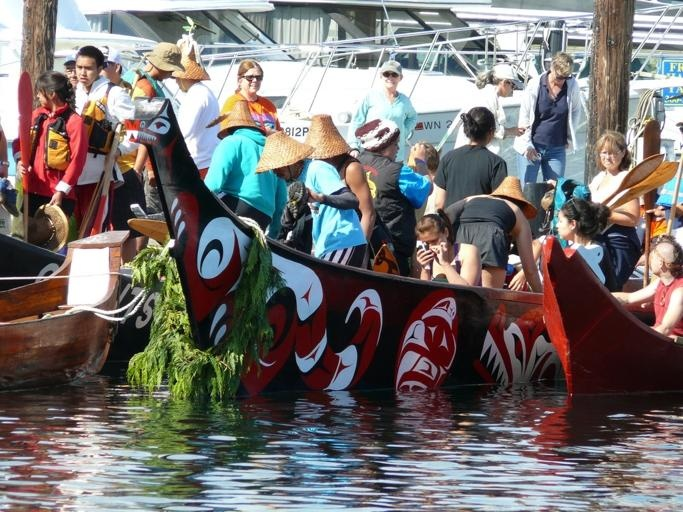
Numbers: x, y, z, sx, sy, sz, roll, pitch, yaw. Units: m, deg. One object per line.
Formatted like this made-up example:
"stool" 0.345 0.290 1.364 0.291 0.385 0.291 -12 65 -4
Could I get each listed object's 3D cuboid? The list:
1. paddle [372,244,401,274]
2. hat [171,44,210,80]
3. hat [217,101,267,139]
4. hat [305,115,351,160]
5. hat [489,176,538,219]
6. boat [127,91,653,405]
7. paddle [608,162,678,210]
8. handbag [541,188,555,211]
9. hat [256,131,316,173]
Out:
"paddle" 0.360 0.022 8.780 0.159 0.390 0.059 -15 13 -33
"hat" -1.505 -1.828 10.439 0.335 0.419 0.409 8 38 4
"hat" -0.861 -1.189 8.907 0.369 0.260 0.382 -2 6 31
"hat" -0.129 -0.942 8.249 0.332 0.244 0.354 -23 5 -19
"hat" 1.429 -0.556 8.910 0.454 0.259 0.467 11 -5 28
"boat" 0.473 0.336 8.529 4.714 1.973 1.103 11 -15 -37
"paddle" 2.801 -0.672 9.827 1.014 0.283 0.148 -29 58 -29
"handbag" 2.073 -0.583 10.544 0.080 0.190 0.139 39 -11 -21
"hat" -0.427 -0.759 7.984 0.326 0.173 0.339 -30 5 21
